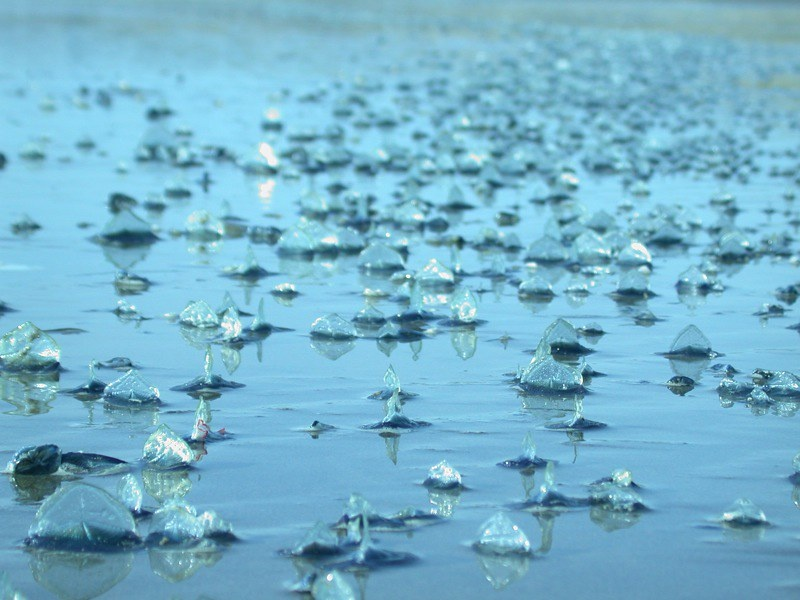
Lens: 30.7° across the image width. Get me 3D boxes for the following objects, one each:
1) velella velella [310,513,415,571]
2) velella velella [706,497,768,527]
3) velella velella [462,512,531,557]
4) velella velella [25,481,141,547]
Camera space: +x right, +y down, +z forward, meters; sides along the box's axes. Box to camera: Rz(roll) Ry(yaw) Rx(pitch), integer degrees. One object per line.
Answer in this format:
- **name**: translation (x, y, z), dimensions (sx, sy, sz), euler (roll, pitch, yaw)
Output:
- **velella velella**: translation (-0.104, 0.879, 5.402), dimensions (0.265, 0.117, 0.244), euler (0, -6, -2)
- **velella velella**: translation (1.310, 0.821, 5.547), dimensions (0.142, 0.056, 0.129), euler (0, 9, -7)
- **velella velella**: translation (0.353, 0.848, 5.472), dimensions (0.249, 0.135, 0.229), euler (-7, 10, -13)
- **velella velella**: translation (-1.169, 0.807, 5.406), dimensions (0.417, 0.218, 0.168), euler (2, 12, -11)
